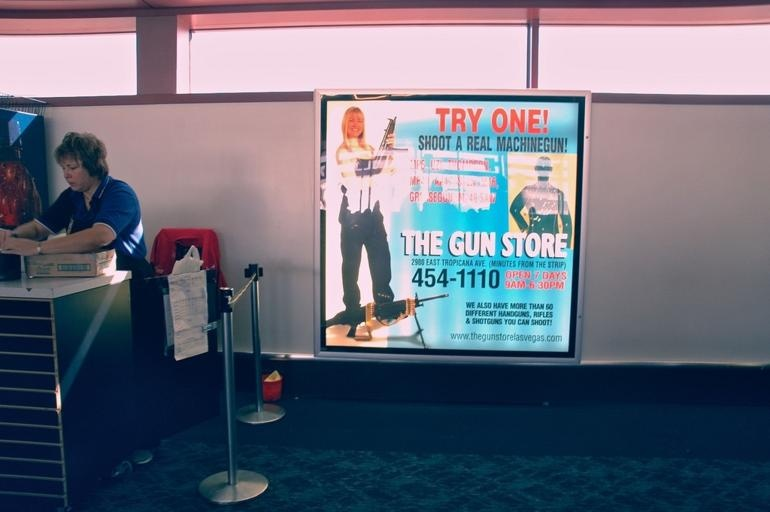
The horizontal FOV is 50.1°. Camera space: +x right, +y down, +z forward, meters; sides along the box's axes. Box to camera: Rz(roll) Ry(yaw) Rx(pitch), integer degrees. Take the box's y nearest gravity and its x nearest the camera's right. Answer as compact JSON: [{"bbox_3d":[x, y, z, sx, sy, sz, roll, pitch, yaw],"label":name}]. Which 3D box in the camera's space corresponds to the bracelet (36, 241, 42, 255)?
[{"bbox_3d":[-2.784,-0.069,6.619,0.060,0.079,0.028,3,-7,-31],"label":"bracelet"}]

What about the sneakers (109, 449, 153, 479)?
[{"bbox_3d":[-2.095,1.713,6.776,0.162,0.059,0.256,28,31,26],"label":"sneakers"}]

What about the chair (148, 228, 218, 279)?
[{"bbox_3d":[-1.855,0.027,7.668,0.687,0.582,0.285,-2,9,-24],"label":"chair"}]

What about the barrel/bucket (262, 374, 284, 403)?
[{"bbox_3d":[-1.047,1.217,7.661,0.202,0.255,0.242,0,-2,18],"label":"barrel/bucket"}]
